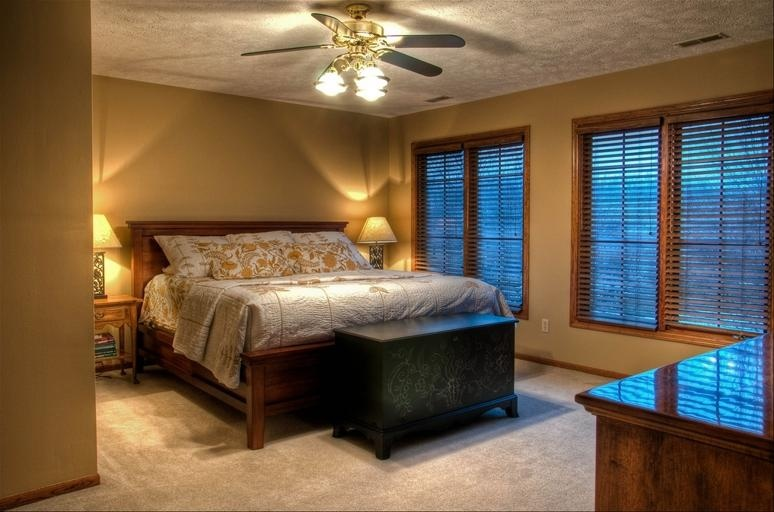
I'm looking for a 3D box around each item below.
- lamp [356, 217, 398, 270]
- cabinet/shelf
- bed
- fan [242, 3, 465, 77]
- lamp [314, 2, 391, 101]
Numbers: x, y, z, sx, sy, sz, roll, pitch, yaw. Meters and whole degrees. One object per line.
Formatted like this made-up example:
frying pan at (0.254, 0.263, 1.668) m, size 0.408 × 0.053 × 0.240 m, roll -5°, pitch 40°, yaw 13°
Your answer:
lamp at (-0.124, -0.142, 6.684) m, size 0.509 × 0.676 × 0.442 m, roll 3°, pitch 9°, yaw 11°
cabinet/shelf at (0.315, 0.919, 4.066) m, size 1.467 × 0.738 × 0.577 m, roll 0°, pitch 0°, yaw -41°
bed at (-1.156, 0.475, 4.734) m, size 1.878 × 1.114 × 2.046 m, roll -1°, pitch 1°, yaw -42°
fan at (-0.067, -1.499, 3.778) m, size 0.842 × 0.213 × 0.856 m, roll 3°, pitch -8°, yaw -19°
lamp at (-0.215, -1.456, 3.800) m, size 0.708 × 0.455 × 0.656 m, roll 1°, pitch -4°, yaw 9°
